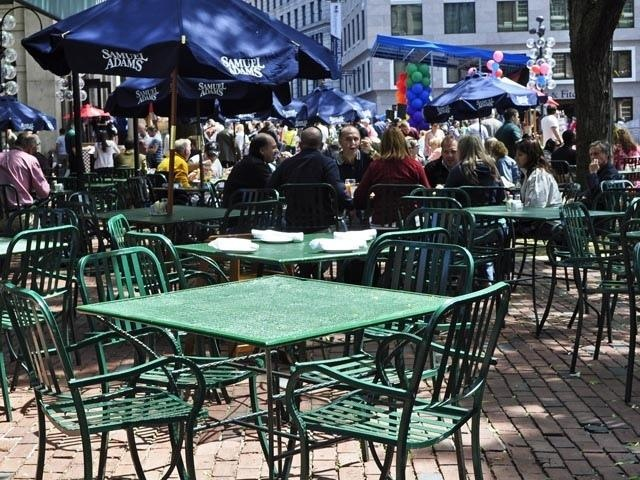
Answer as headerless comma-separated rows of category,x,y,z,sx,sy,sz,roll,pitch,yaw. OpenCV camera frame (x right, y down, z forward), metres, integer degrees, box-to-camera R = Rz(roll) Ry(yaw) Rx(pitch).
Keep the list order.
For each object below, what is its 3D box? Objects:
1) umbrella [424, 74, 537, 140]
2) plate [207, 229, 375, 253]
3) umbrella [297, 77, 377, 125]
umbrella,3.258,-2.626,16.946,1.560,1.166,1.213,6,15,38
plate,-0.147,0.006,6.722,1.039,0.199,0.779,2,10,11
umbrella,0.411,-3.239,20.992,1.212,1.284,1.384,1,16,-29
